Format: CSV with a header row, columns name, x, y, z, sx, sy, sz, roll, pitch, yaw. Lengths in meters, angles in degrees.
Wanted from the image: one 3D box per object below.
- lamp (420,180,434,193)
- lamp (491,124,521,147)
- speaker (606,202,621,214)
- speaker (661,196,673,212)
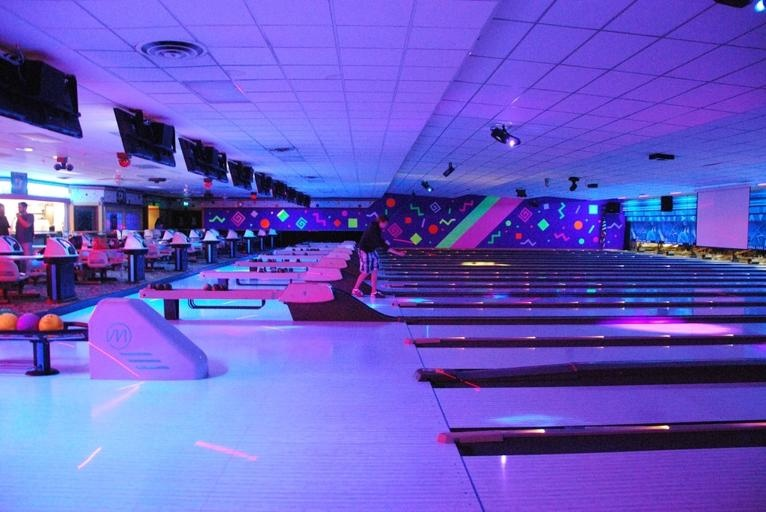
name,x,y,z,sx,sy,sz,roll,pitch,yaw
lamp,1.242,-1.937,14.249,0.369,0.110,0.238,20,-2,-12
lamp,1.713,-1.662,7.244,0.608,0.188,0.242,8,-7,-37
speaker,7.883,-1.660,18.092,0.496,0.390,0.444,0,4,20
speaker,8.338,-1.559,15.507,0.292,0.463,0.370,0,2,27
